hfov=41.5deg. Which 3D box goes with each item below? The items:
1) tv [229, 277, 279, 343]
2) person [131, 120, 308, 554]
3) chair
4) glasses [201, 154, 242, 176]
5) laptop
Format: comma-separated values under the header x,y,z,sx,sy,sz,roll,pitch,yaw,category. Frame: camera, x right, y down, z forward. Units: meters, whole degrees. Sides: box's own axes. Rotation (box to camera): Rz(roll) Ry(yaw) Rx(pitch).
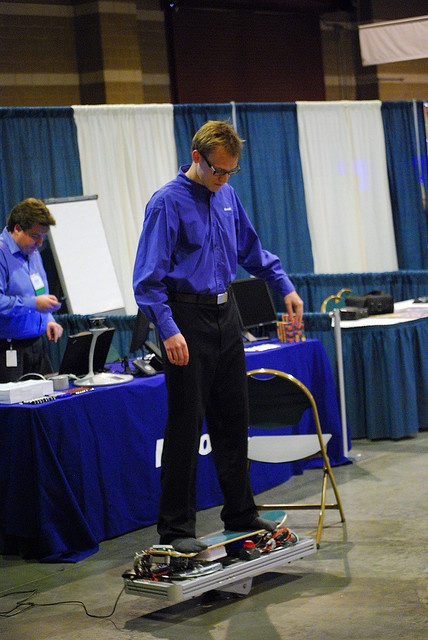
x,y,z,sx,sy,sz,roll,pitch,yaw,category
0.253,-0.068,3.607,0.041,0.412,0.369,-6,14,44,tv
0.027,0.078,1.775,0.441,1.281,0.627,-5,-4,17,person
0.331,0.628,2.697,0.443,0.873,0.555,-2,1,28,chair
0.003,-0.437,1.590,0.070,0.021,0.072,-2,44,-47,glasses
-0.721,0.134,2.999,0.308,0.260,0.296,-4,15,-30,laptop
